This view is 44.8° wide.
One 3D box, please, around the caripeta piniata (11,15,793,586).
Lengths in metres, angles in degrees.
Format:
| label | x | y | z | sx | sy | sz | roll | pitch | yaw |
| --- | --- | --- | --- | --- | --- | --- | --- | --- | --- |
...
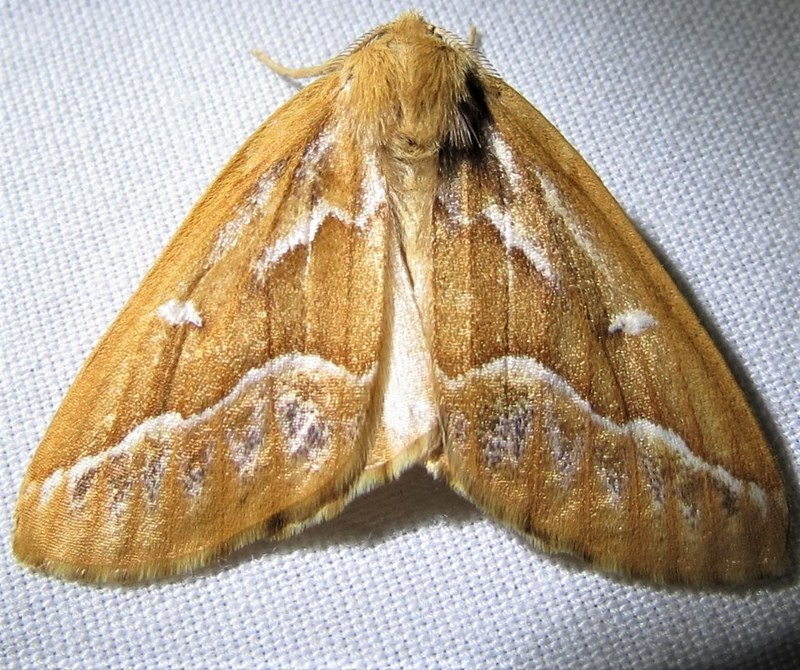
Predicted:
| label | x | y | z | sx | sy | sz | roll | pitch | yaw |
| --- | --- | --- | --- | --- | --- | --- | --- | --- | --- |
| caripeta piniata | -0.002 | -0.020 | 1.557 | 0.946 | 0.314 | 0.900 | 2 | 86 | 0 |
